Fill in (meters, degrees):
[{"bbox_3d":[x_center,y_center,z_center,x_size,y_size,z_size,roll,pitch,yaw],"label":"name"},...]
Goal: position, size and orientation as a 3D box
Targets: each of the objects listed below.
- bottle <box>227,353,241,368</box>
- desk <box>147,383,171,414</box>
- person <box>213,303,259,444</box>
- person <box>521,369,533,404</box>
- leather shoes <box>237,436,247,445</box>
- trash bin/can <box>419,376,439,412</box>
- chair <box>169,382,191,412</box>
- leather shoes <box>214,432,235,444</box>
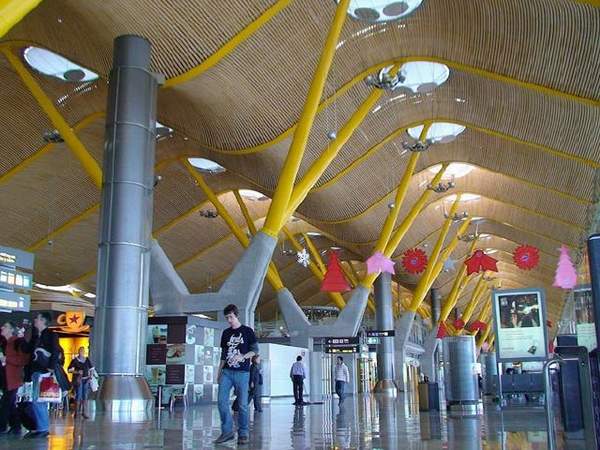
[{"bbox_3d":[-1.005,2.109,7.698,0.250,0.203,0.132,-13,-21,40],"label":"bottle"},{"bbox_3d":[-4.980,6.131,17.743,0.673,0.703,1.287,4,-16,-14],"label":"desk"},{"bbox_3d":[-0.990,2.305,7.772,0.582,2.167,0.962,3,-16,-8],"label":"person"},{"bbox_3d":[9.838,7.032,21.468,0.292,1.130,2.215,-7,-16,23],"label":"person"},{"bbox_3d":[-0.886,3.365,7.744,0.079,0.134,0.210,0,-8,8],"label":"leather shoes"},{"bbox_3d":[4.246,5.383,15.887,0.561,0.863,1.009,-4,-4,29],"label":"trash bin/can"},{"bbox_3d":[-4.151,6.194,17.950,0.952,1.162,0.895,8,-25,-20],"label":"chair"},{"bbox_3d":[-1.138,3.299,7.682,0.365,0.136,0.126,0,-14,-15],"label":"leather shoes"}]
